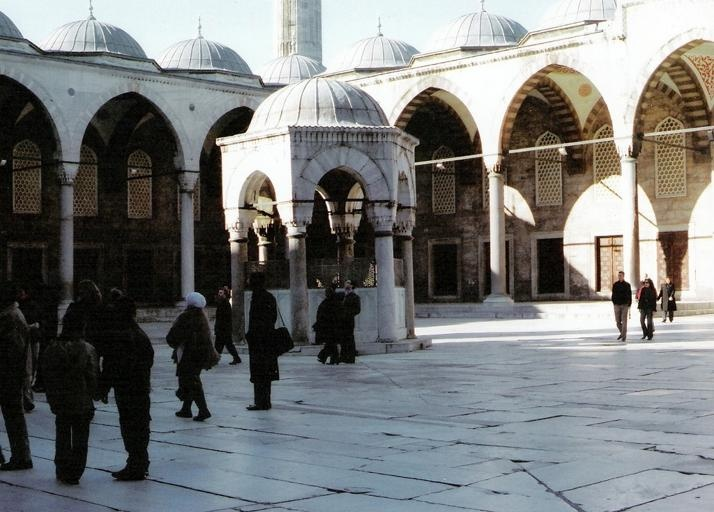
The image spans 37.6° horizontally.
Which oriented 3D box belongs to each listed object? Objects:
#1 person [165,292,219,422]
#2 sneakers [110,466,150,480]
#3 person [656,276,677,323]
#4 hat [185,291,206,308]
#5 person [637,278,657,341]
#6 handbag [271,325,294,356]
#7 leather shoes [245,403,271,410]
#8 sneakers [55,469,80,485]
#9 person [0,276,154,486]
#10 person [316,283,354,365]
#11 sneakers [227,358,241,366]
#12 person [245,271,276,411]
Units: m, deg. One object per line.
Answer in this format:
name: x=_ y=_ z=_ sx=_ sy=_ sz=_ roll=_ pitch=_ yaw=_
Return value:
person: x=-1.902 y=1.147 z=12.135 sx=0.584 sy=1.432 sz=0.456 roll=0 pitch=-1 yaw=-10
sneakers: x=-2.139 y=2.053 z=9.931 sx=0.339 sy=0.218 sz=0.127 roll=5 pitch=-10 yaw=1
person: x=7.302 y=0.992 z=24.629 sx=0.361 sy=1.005 sz=1.386 roll=-1 pitch=0 yaw=14
hat: x=-1.929 y=0.502 z=12.391 sx=0.274 sy=0.214 sz=0.202 roll=7 pitch=4 yaw=39
person: x=5.558 y=0.977 z=20.016 sx=0.315 sy=1.119 sz=1.327 roll=-1 pitch=0 yaw=15
handbag: x=-0.894 y=1.015 z=12.575 sx=0.245 sy=0.340 sz=0.166 roll=0 pitch=-1 yaw=-43
leather shoes: x=-1.178 y=1.757 z=12.460 sx=0.270 sy=0.107 sz=0.096 roll=2 pitch=-4 yaw=13
sneakers: x=-2.736 y=2.063 z=9.864 sx=0.185 sy=0.127 sz=0.155 roll=-5 pitch=-7 yaw=39
person: x=-2.716 y=1.305 z=10.083 sx=1.382 sy=1.666 sz=0.559 roll=0 pitch=-1 yaw=-12
person: x=-0.401 y=1.081 z=16.519 sx=0.559 sy=1.190 sz=0.310 roll=0 pitch=-1 yaw=1
sneakers: x=-1.992 y=1.711 z=17.001 sx=0.215 sy=0.143 sz=0.075 roll=5 pitch=-3 yaw=4
person: x=-1.148 y=1.002 z=12.622 sx=0.375 sy=1.629 sz=0.519 roll=0 pitch=-1 yaw=-5
